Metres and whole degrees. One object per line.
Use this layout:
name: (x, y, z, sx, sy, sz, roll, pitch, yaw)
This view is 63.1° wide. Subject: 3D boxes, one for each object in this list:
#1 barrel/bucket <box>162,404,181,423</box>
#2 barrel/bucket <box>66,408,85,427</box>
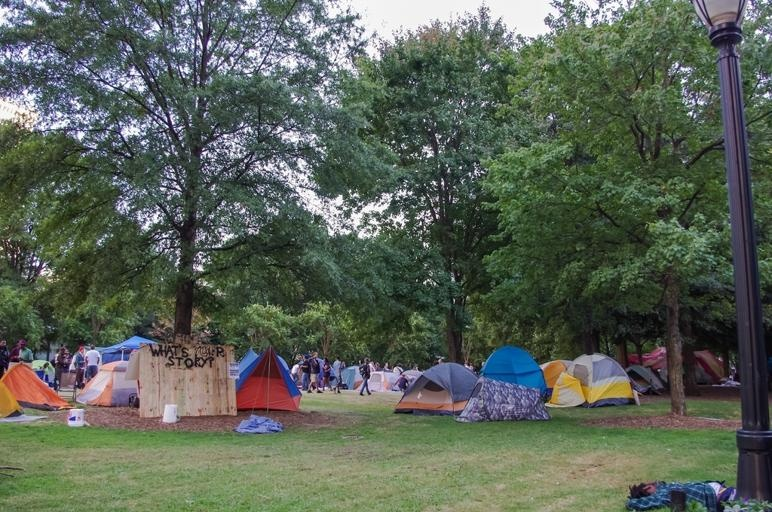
barrel/bucket: (-7.142, 5.235, 20.979, 0.552, 0.651, 0.987, 4, -15, -18)
barrel/bucket: (-9.667, 5.030, 19.712, 0.522, 0.540, 0.484, 2, -5, 0)
